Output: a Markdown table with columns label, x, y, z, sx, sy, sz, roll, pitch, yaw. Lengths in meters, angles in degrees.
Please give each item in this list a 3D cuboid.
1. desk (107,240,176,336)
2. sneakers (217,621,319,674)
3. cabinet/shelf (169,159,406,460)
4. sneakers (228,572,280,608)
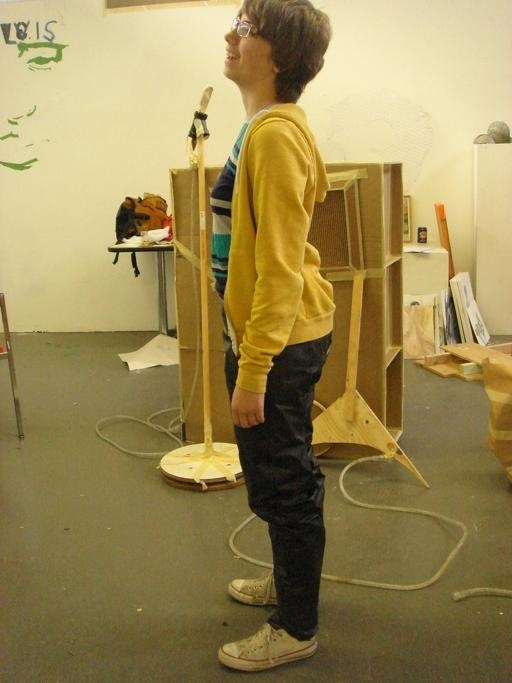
| label | x | y | z | sx | sy | sz | roll | pitch | yaw |
| --- | --- | --- | --- | --- | --- | --- | --- | --- | --- |
| desk | -0.851 | -0.380 | 4.346 | 0.409 | 0.781 | 1.418 | -3 | 9 | -8 |
| sneakers | 0.015 | 0.622 | 1.112 | 0.177 | 0.074 | 0.089 | -3 | 5 | -6 |
| cabinet/shelf | 0.168 | -0.175 | 2.439 | 0.744 | 1.036 | 0.527 | 5 | 16 | 10 |
| sneakers | -0.004 | 0.607 | 1.346 | 0.153 | 0.075 | 0.063 | 4 | 7 | 11 |
